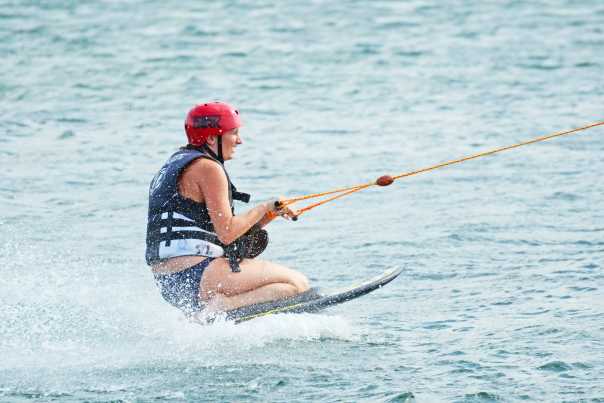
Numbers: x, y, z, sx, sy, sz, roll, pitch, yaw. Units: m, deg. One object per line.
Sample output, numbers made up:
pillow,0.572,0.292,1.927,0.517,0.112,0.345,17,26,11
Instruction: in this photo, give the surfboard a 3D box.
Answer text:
surfboard,-0.007,1.432,18.233,3.288,0.243,0.440,-11,9,-4
